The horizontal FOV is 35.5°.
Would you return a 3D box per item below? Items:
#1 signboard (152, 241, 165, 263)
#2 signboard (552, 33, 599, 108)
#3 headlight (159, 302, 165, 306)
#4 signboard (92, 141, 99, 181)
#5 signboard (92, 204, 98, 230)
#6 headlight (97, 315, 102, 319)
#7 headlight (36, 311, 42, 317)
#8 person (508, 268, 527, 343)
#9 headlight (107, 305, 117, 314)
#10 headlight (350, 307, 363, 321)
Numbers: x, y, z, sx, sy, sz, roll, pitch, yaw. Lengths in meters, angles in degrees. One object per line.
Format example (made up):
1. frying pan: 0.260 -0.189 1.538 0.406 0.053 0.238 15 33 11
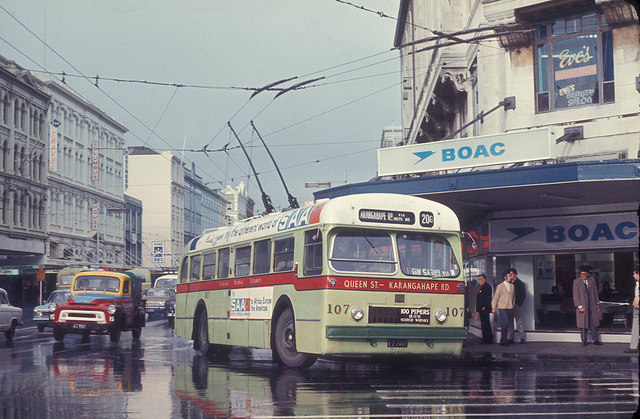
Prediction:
1. signboard: -16.754 4.522 103.998 1.188 2.237 2.997 -3 -1 -12
2. signboard: 9.337 -5.076 36.521 1.576 2.476 0.123 -3 0 30
3. headlight: -8.874 5.386 56.434 0.342 0.216 0.126 -3 0 15
4. signboard: -18.923 -4.086 84.442 0.574 3.378 4.395 -3 -1 -12
5. signboard: -18.812 0.665 83.852 0.457 2.165 0.939 -3 0 -13
6. headlight: -8.205 4.050 37.402 0.116 0.138 0.034 -3 0 -18
7. headlight: -12.348 4.659 44.179 0.222 0.229 0.105 -3 0 -5
8. person: 7.007 3.540 36.200 0.707 2.787 0.897 6 -12 -22
9. headlight: -7.792 3.807 37.547 0.287 0.300 0.095 5 -7 -26
10. headlight: 1.056 3.015 28.549 0.326 0.334 0.178 29 -14 -15
